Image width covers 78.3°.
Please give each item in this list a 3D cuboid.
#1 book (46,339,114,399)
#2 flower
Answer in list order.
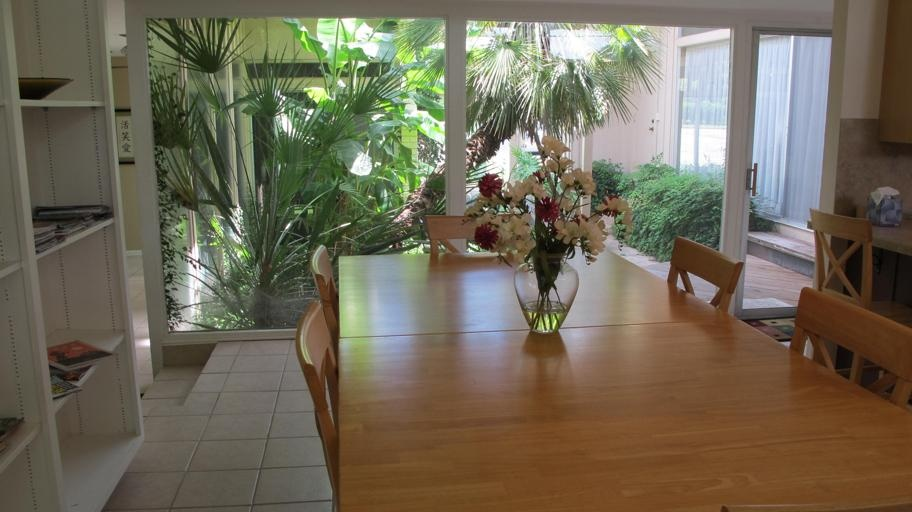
[{"bbox_3d":[-2.126,0.608,3.085,0.288,0.061,0.278,6,12,12],"label":"book"},{"bbox_3d":[0.454,-0.113,2.923,0.981,1.027,0.892,-1,2,-10],"label":"flower"}]
